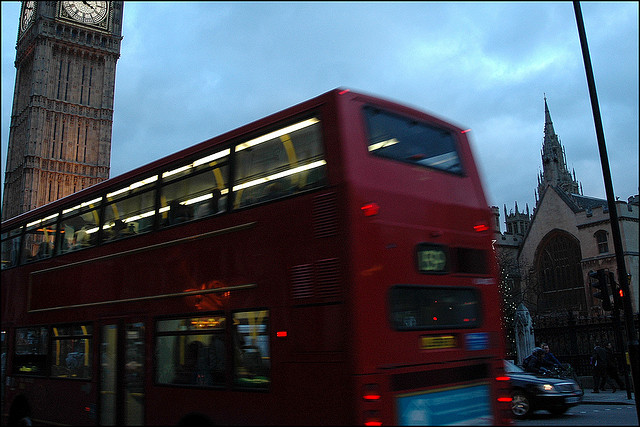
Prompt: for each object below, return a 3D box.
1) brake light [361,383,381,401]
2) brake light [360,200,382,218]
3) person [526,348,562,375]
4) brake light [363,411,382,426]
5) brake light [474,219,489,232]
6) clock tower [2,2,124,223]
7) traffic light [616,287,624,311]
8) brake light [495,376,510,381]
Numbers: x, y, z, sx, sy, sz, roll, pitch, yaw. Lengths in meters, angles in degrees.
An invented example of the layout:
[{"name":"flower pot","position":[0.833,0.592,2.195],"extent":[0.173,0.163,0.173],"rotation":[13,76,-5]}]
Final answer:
[{"name":"brake light","position":[0.711,2.591,8.470],"extent":[0.308,0.223,0.146],"rotation":[2,-6,-7]},{"name":"brake light","position":[0.764,-0.062,8.836],"extent":[0.379,0.220,0.239],"rotation":[-3,0,-24]},{"name":"person","position":[6.146,4.148,16.448],"extent":[0.989,0.633,0.716],"rotation":[2,2,36]},{"name":"brake light","position":[0.748,2.940,8.479],"extent":[0.377,0.224,0.189],"rotation":[1,-6,-3]},{"name":"brake light","position":[2.722,0.199,9.930],"extent":[0.324,0.223,0.026],"rotation":[6,-23,-30]},{"name":"clock tower","position":[-36.122,-15.387,81.250],"extent":[16.793,33.582,14.257],"rotation":[-1,-20,-10]},{"name":"traffic light","position":[7.698,2.155,15.055],"extent":[0.130,0.488,0.857],"rotation":[-14,-20,24]},{"name":"brake light","position":[2.994,2.723,9.669],"extent":[0.263,0.068,0.054],"rotation":[6,-22,-30]}]
